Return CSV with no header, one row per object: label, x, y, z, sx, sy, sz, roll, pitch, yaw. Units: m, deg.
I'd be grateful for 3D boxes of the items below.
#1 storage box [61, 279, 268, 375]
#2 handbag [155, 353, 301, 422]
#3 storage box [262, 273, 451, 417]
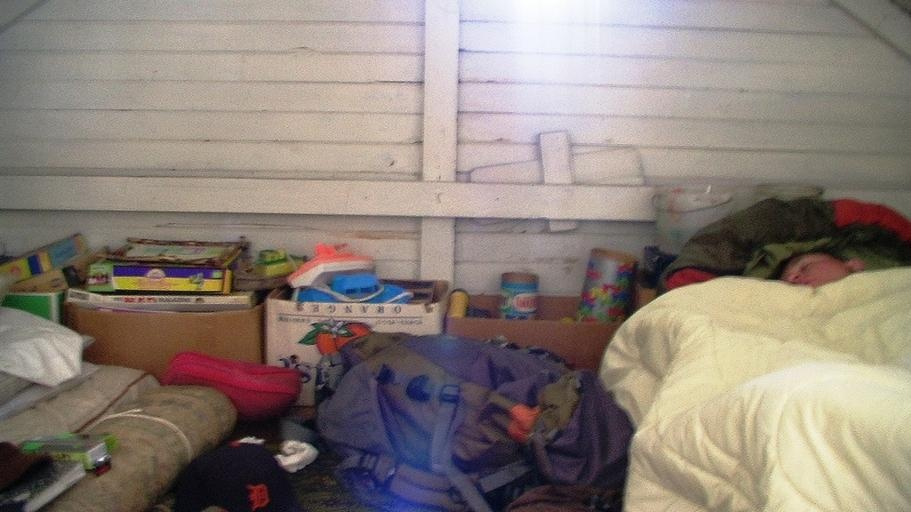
storage box,-1.520,0.364,3.538,0.804,0.222,0.514,1,3,0
handbag,-1.120,0.627,3.382,0.583,0.179,0.381,10,2,-6
storage box,-0.546,0.429,3.813,1.348,0.649,0.638,2,1,0
